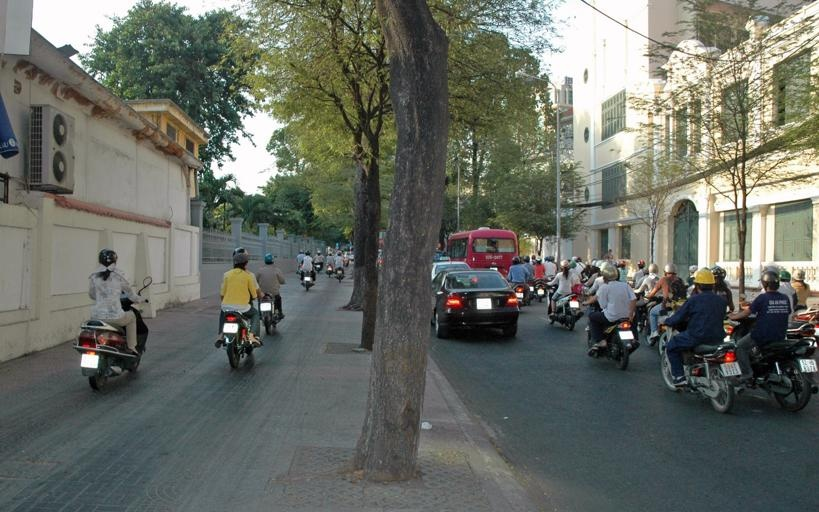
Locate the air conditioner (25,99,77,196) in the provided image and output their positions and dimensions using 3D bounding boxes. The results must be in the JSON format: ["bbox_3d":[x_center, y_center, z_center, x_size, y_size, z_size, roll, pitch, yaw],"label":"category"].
[{"bbox_3d":[-8.827,-2.568,18.774,0.691,1.913,1.609,0,0,-2],"label":"air conditioner"}]

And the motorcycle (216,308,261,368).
[{"bbox_3d":[-3.752,1.710,16.906,0.621,0.809,1.290,0,10,-2],"label":"motorcycle"}]

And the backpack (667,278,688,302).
[{"bbox_3d":[6.409,0.791,18.397,0.419,0.495,0.494,0,-17,8],"label":"backpack"}]

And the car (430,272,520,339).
[{"bbox_3d":[1.795,1.192,21.606,1.761,1.532,4.096,0,-1,-2],"label":"car"}]
